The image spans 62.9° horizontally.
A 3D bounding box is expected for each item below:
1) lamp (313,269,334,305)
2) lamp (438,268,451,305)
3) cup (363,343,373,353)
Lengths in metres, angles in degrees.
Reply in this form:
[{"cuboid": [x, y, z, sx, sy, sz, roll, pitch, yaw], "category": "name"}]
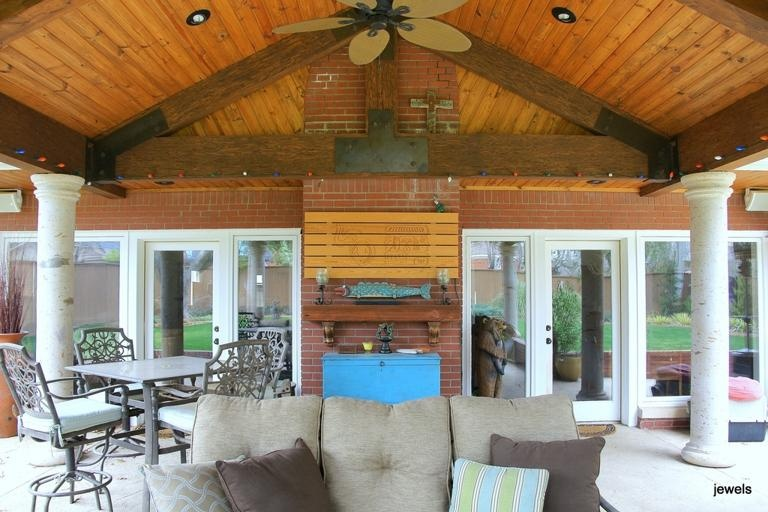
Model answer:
[{"cuboid": [-0.740, 0.380, 7.578, 0.200, 0.425, 0.205, -3, 13, -13], "category": "lamp"}, {"cuboid": [0.729, 0.388, 7.607, 0.168, 0.418, 0.191, 0, 12, 0], "category": "lamp"}, {"cuboid": [-0.206, 1.108, 7.448, 0.142, 0.092, 0.122, 0, -9, -3], "category": "cup"}]
